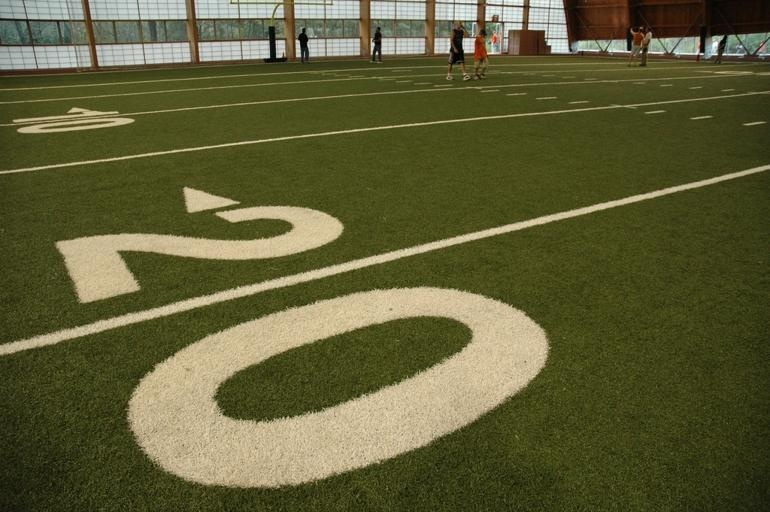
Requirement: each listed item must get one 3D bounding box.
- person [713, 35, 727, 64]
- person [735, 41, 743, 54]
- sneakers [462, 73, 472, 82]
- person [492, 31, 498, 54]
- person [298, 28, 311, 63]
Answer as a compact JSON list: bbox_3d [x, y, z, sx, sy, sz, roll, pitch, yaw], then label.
[{"bbox_3d":[19.305,-11.982,32.105,0.401,1.384,3.136,11,25,27],"label":"person"},{"bbox_3d":[22.585,-13.333,35.510,0.551,0.650,1.392,12,26,28],"label":"person"},{"bbox_3d":[3.006,-6.557,20.360,0.205,0.280,0.645,-8,24,15],"label":"sneakers"},{"bbox_3d":[8.152,-15.727,40.973,0.474,1.417,1.521,4,23,12],"label":"person"},{"bbox_3d":[-4.204,-10.950,28.968,0.415,1.612,1.289,-5,22,-10],"label":"person"}]
